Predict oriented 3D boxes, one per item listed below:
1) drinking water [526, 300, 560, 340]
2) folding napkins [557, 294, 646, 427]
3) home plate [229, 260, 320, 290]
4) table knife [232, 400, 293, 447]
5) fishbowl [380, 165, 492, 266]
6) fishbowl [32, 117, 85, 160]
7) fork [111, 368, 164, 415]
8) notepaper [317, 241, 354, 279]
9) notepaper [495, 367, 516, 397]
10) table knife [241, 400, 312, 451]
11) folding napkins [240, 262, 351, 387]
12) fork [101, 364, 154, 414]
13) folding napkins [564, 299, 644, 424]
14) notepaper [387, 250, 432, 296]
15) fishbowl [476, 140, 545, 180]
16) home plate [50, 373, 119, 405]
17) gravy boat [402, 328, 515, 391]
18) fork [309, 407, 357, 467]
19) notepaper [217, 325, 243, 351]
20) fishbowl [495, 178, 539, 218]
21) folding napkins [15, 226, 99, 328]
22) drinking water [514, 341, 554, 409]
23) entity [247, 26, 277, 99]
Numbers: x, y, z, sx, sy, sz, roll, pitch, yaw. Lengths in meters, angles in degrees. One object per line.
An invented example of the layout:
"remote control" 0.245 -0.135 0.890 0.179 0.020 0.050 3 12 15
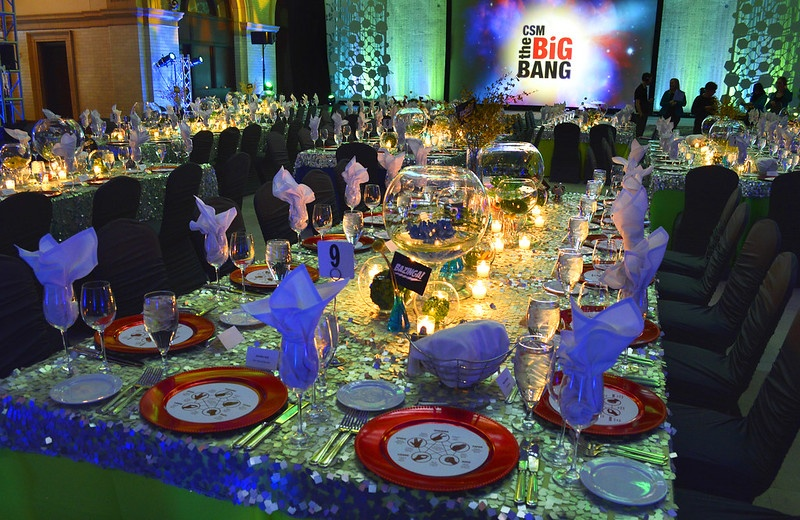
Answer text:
"drinking water" 0.499 0.206 1.880 0.124 0.149 0.126 1 0 1
"folding napkins" 0.608 0.318 1.601 0.177 0.373 0.229 24 36 25
"home plate" -0.661 0.078 2.588 0.240 0.026 0.247 21 26 39
"table knife" -0.410 0.507 1.660 0.056 0.018 0.235 11 19 24
"fishbowl" 0.163 -0.221 2.400 0.415 0.417 0.406 12 12 37
"fishbowl" -3.316 -1.141 5.234 0.392 0.433 0.799 -14 24 -36
"fork" -0.863 0.434 1.796 0.046 0.030 0.200 -2 22 9
"notepaper" -0.267 0.000 2.237 0.150 0.157 0.007 2 11 16
"notepaper" 0.353 0.409 1.791 0.010 0.080 0.109 10 -21 49
"table knife" -0.371 0.504 1.697 0.068 0.027 0.333 14 23 25
"folding napkins" -0.316 0.156 1.712 0.334 0.370 0.319 20 28 40
"fork" -0.887 0.420 1.765 0.052 0.029 0.202 5 19 9
"folding napkins" 0.542 0.282 1.480 0.217 0.349 0.139 4 19 7
"notepaper" 0.039 0.058 2.134 0.151 0.111 0.022 27 8 23
"fishbowl" 0.739 -0.619 3.536 0.290 0.284 0.300 2 3 34
"home plate" -1.042 0.428 1.781 0.220 0.033 0.148 -3 20 -12
"gravy boat" 0.194 0.287 1.808 0.232 0.132 0.252 -3 -2 41
"fork" -0.192 0.522 1.610 0.054 0.023 0.204 6 24 24
"notepaper" -0.634 0.291 2.011 0.072 0.069 0.110 9 14 10
"fishbowl" 0.677 -0.354 3.079 0.203 0.191 0.220 0 12 7
"folding napkins" -1.166 0.077 1.883 0.224 0.331 0.138 -13 24 -36
"drinking water" 0.401 0.347 1.629 0.113 0.227 0.174 6 20 14
"entity" -3.867 -5.676 15.219 0.569 1.804 1.032 1 19 0
